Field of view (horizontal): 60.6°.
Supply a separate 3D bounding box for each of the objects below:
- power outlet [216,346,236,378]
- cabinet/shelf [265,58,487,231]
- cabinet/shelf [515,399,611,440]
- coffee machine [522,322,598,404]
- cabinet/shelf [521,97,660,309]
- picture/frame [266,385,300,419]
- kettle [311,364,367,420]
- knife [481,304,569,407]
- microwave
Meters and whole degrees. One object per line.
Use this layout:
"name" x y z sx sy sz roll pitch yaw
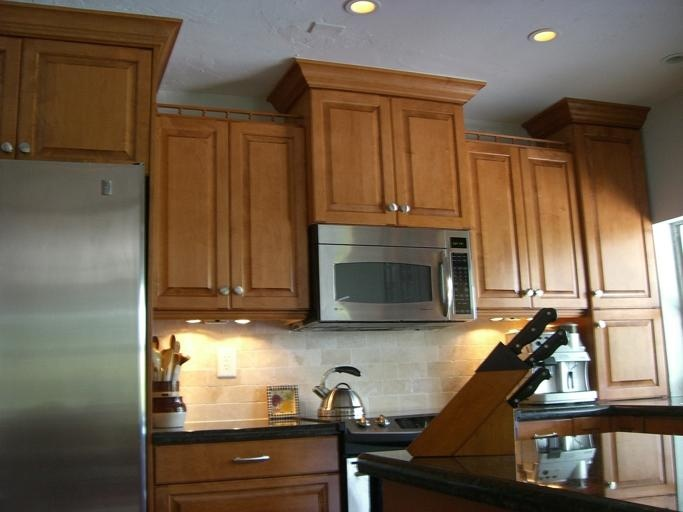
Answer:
"power outlet" -0.629 0.584 3.215 0.116 0.171 0.017 6 -10 -12
"cabinet/shelf" 0.083 -0.600 3.487 1.540 0.820 0.777 -5 5 -42
"cabinet/shelf" 1.215 0.951 3.243 0.521 0.217 0.245 -2 1 -7
"coffee machine" 1.236 0.635 3.483 0.469 0.380 0.496 4 -9 -34
"cabinet/shelf" 1.537 -0.264 4.021 0.535 1.303 0.760 -5 1 -24
"picture/frame" -0.323 0.799 3.211 0.019 0.184 0.233 -26 -29 37
"kettle" -0.022 0.724 3.092 0.326 0.232 0.207 5 -2 -20
"knife" 0.551 0.286 1.661 0.252 0.277 0.238 -3 -11 40
"microwave" 0.193 0.123 3.290 1.195 0.516 0.633 2 -12 -18
